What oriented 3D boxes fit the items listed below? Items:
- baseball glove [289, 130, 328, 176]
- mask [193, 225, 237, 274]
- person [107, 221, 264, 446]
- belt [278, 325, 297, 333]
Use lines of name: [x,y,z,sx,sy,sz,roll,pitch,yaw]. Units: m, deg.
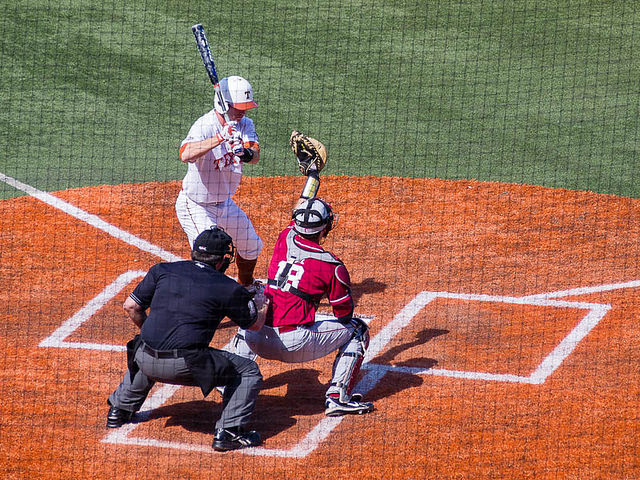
baseball glove: [-0.060,-1.035,14.854,0.621,0.360,0.225,26,26,28]
mask: [-1.158,0.091,13.454,0.423,0.444,0.468,12,22,30]
person: [-1.365,1.045,13.166,1.714,2.178,1.084,9,27,3]
belt: [-0.357,0.952,13.476,0.161,0.029,0.075,-10,17,-4]
